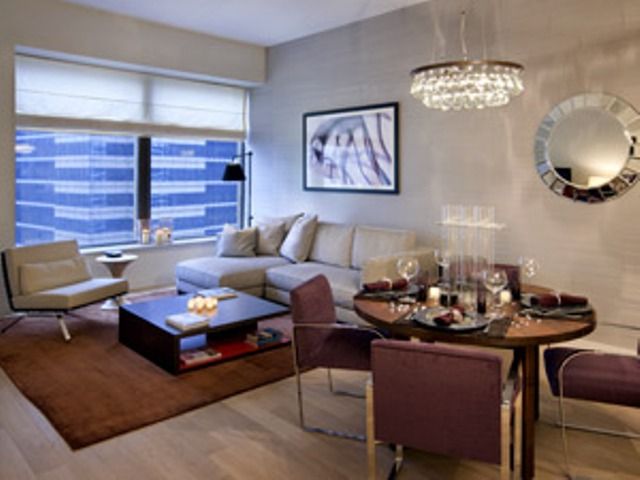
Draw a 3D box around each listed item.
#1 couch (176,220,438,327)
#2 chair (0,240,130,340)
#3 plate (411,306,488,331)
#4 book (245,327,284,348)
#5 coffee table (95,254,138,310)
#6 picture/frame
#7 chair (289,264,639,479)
[{"bbox_3d":[-0.372,0.182,5.783,2.228,0.880,1.310,3,2,43],"label":"couch"},{"bbox_3d":[-2.721,0.397,5.308,1.065,0.983,1.097,3,5,16],"label":"chair"},{"bbox_3d":[0.770,0.442,2.930,0.428,0.090,0.293,5,14,21],"label":"plate"},{"bbox_3d":[-0.489,0.897,4.588,0.168,0.082,0.231,0,-1,41],"label":"book"},{"bbox_3d":[-2.525,0.477,6.133,0.629,0.664,0.625,-1,3,-36],"label":"coffee table"},{"bbox_3d":[0.438,-1.171,6.251,0.034,0.901,1.303,-6,7,-45],"label":"picture/frame"},{"bbox_3d":[0.856,0.651,3.270,1.878,0.958,1.288,2,6,27],"label":"chair"}]
